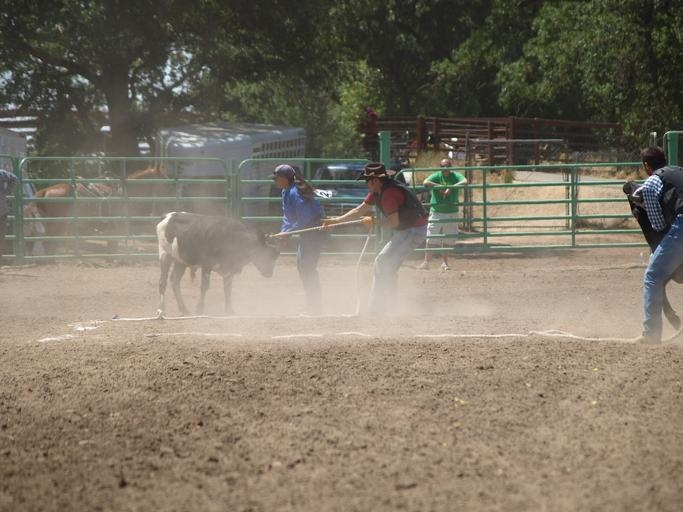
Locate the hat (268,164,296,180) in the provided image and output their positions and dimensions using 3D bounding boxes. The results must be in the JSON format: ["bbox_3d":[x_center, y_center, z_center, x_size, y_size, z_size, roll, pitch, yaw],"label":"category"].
[{"bbox_3d":[-0.815,-1.187,12.738,0.312,0.209,0.353,-4,6,-5],"label":"hat"}]

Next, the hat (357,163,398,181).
[{"bbox_3d":[0.453,-1.126,11.990,0.436,0.183,0.395,-6,7,11],"label":"hat"}]

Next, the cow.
[{"bbox_3d":[-1.870,0.091,13.076,1.822,1.492,0.669,-3,5,1],"label":"cow"}]

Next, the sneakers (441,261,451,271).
[{"bbox_3d":[1.874,0.187,16.221,0.134,0.252,0.135,-3,8,11],"label":"sneakers"}]

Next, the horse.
[{"bbox_3d":[-4.646,-0.871,18.125,2.898,1.768,0.822,-8,2,-17],"label":"horse"}]
